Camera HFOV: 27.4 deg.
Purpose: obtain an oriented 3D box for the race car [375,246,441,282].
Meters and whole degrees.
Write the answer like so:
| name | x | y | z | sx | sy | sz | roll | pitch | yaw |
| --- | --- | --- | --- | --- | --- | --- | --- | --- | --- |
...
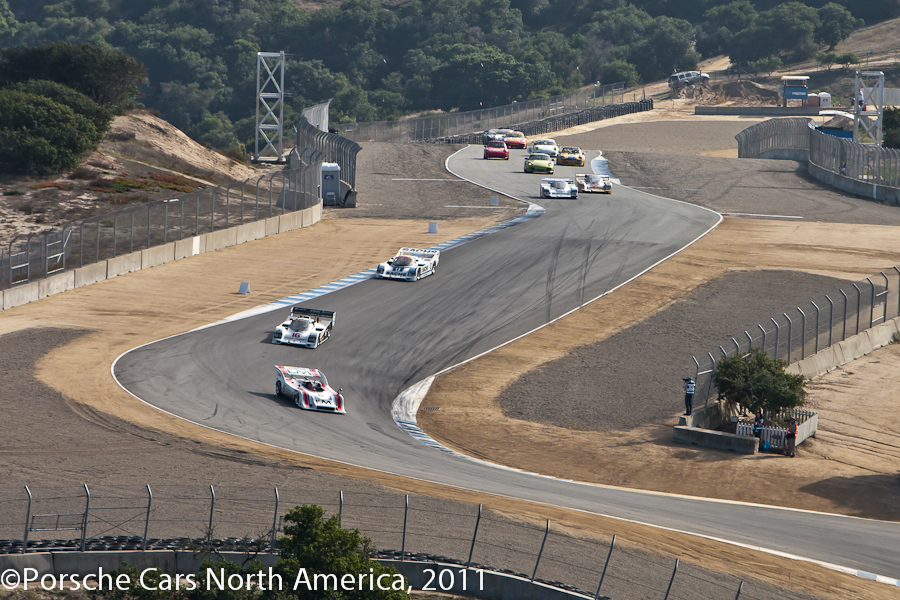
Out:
| name | x | y | z | sx | sy | sz | roll | pitch | yaw |
| --- | --- | --- | --- | --- | --- | --- | --- | --- | --- |
| race car | -3.011 | -2.572 | 132.883 | 4.553 | 1.588 | 2.802 | -12 | 20 | -41 |

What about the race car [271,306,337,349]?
| name | x | y | z | sx | sy | sz | roll | pitch | yaw |
| --- | --- | --- | --- | --- | --- | --- | --- | --- | --- |
| race car | -10.095 | 1.785 | 124.733 | 3.393 | 1.582 | 4.888 | 7 | 14 | 13 |

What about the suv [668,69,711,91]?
| name | x | y | z | sx | sy | sz | roll | pitch | yaw |
| --- | --- | --- | --- | --- | --- | --- | --- | --- | --- |
| suv | 30.813 | -28.517 | 239.024 | 4.735 | 2.077 | 2.903 | -15 | 20 | -15 |

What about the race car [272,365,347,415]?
| name | x | y | z | sx | sy | sz | roll | pitch | yaw |
| --- | --- | --- | --- | --- | --- | --- | --- | --- | --- |
| race car | -9.219 | 5.718 | 119.106 | 3.274 | 1.782 | 5.686 | 7 | 6 | -26 |

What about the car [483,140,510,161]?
| name | x | y | z | sx | sy | sz | roll | pitch | yaw |
| --- | --- | --- | --- | --- | --- | --- | --- | --- | --- |
| car | 4.099 | -13.752 | 170.047 | 2.276 | 1.485 | 2.511 | 1 | 15 | -1 |

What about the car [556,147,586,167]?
| name | x | y | z | sx | sy | sz | roll | pitch | yaw |
| --- | --- | --- | --- | --- | --- | --- | --- | --- | --- |
| car | 10.915 | -12.643 | 165.254 | 2.136 | 1.552 | 2.406 | -12 | 20 | -40 |

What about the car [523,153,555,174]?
| name | x | y | z | sx | sy | sz | roll | pitch | yaw |
| --- | --- | --- | --- | --- | --- | --- | --- | --- | --- |
| car | 7.647 | -11.757 | 160.628 | 2.493 | 1.576 | 1.758 | 1 | 15 | 0 |

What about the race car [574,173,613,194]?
| name | x | y | z | sx | sy | sz | roll | pitch | yaw |
| --- | --- | --- | --- | --- | --- | --- | --- | --- | --- |
| race car | 11.774 | -9.653 | 153.111 | 3.115 | 1.291 | 2.282 | 5 | 16 | 13 |
